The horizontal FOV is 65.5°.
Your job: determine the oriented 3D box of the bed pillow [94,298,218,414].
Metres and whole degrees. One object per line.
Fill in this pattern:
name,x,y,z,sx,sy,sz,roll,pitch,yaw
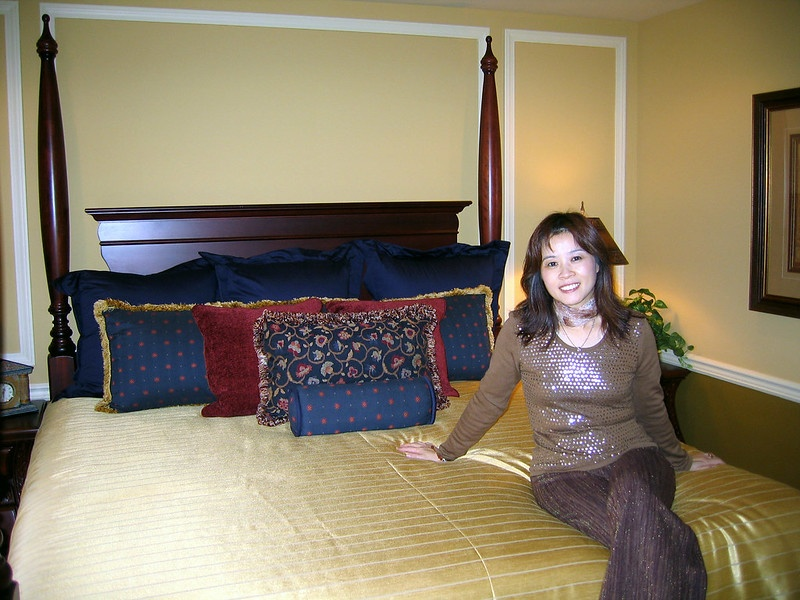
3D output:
bed pillow,-1.144,0.276,2.929,0.466,0.412,0.154,-4,-7,-17

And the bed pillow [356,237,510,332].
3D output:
bed pillow,0.201,-0.087,3.641,0.580,0.184,0.541,1,47,1

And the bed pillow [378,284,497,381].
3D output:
bed pillow,0.330,0.183,3.364,0.475,0.514,0.147,-1,-14,-19

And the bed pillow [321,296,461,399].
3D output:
bed pillow,0.013,0.263,3.190,0.534,0.549,0.156,-1,-11,-20

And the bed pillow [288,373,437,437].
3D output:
bed pillow,-0.158,0.451,2.781,0.616,0.270,0.226,-3,28,-10

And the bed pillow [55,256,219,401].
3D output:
bed pillow,-1.296,0.167,3.046,0.663,0.702,0.198,-3,-2,-30

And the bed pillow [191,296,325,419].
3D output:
bed pillow,-0.656,0.287,2.823,0.440,0.424,0.157,-4,-9,-13

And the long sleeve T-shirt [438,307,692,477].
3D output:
long sleeve T-shirt,0.584,0.368,2.446,0.718,0.502,0.263,-2,-5,2
